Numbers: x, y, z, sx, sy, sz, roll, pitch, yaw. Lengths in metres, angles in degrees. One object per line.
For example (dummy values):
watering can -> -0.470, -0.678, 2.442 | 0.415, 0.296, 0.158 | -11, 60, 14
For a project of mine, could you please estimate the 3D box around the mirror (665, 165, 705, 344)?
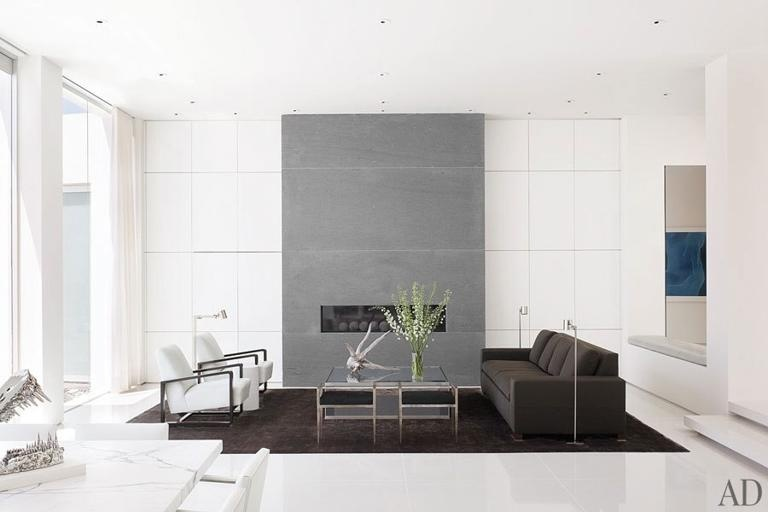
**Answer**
mirror -> 4.771, -0.010, 9.888 | 0.717, 2.822, 0.332 | -3, 5, 7

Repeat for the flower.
flower -> 0.484, 1.011, 8.943 | 1.345, 1.618, 1.066 | -2, 2, -4

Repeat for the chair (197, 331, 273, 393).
chair -> -2.143, 1.553, 9.048 | 0.968, 0.834, 0.851 | -3, -3, -4

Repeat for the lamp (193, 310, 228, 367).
lamp -> -2.585, 1.260, 9.129 | 0.568, 0.194, 1.047 | -5, 47, -15
